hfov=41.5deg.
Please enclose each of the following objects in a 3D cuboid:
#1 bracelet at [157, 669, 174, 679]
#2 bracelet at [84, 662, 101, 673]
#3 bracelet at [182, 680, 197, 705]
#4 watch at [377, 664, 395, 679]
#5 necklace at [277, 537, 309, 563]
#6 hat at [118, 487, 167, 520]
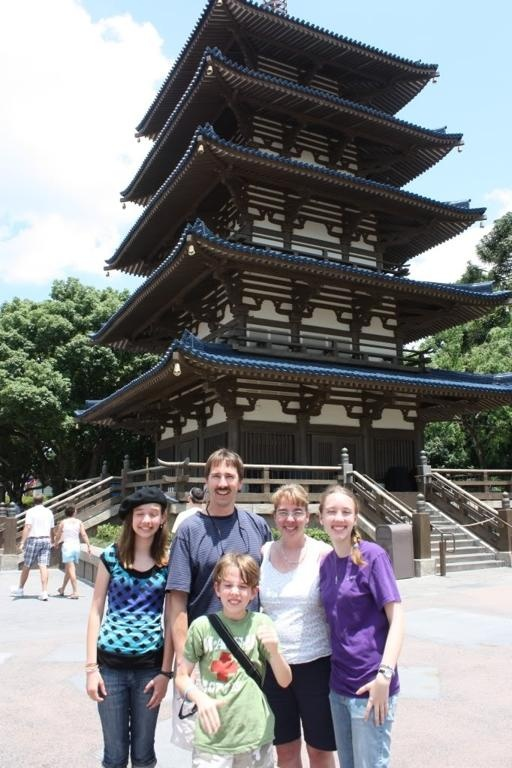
[{"bbox_3d":[-0.435,1.425,3.302,0.078,0.046,0.068,4,-8,-19],"label":"bracelet"},{"bbox_3d":[-0.791,1.367,3.251,0.055,0.039,0.054,4,-13,1],"label":"bracelet"},{"bbox_3d":[-0.287,1.321,2.903,0.041,0.071,0.109,2,-8,-5],"label":"bracelet"},{"bbox_3d":[0.550,1.218,2.862,0.060,0.056,0.060,0,-8,6],"label":"watch"},{"bbox_3d":[0.190,0.852,3.437,0.096,0.127,0.032,1,-12,12],"label":"necklace"},{"bbox_3d":[-0.588,0.613,3.557,0.223,0.084,0.199,-27,-16,7],"label":"hat"}]
